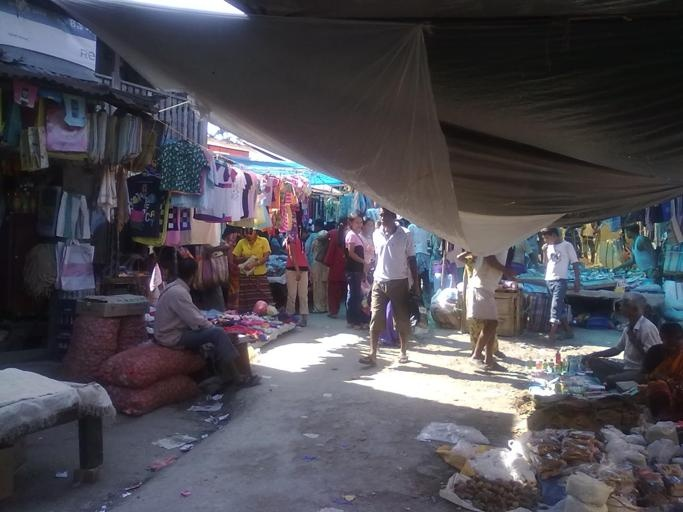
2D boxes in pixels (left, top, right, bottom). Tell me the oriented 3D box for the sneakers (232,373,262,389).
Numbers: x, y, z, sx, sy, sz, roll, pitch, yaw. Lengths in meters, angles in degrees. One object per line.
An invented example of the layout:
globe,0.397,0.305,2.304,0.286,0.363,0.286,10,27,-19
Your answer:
sneakers,-1.219,1.614,7.108,0.271,0.111,0.141,-4,1,-16

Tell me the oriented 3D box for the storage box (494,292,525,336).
storage box,3.141,1.065,10.360,0.697,0.993,0.973,0,0,19

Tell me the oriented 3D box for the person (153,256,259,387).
person,-1.782,0.862,6.937,1.095,1.642,0.423,-1,6,-6

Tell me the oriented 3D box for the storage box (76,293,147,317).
storage box,-2.934,0.622,6.989,0.418,0.170,0.462,3,2,39

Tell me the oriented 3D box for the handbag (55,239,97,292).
handbag,-3.825,0.158,7.914,0.535,0.758,0.233,-6,8,-42

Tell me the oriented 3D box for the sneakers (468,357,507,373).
sneakers,2.123,1.591,8.046,0.505,0.213,0.175,-2,-4,26

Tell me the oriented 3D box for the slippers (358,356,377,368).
slippers,0.385,1.567,8.151,0.272,0.126,0.118,17,-14,-16
